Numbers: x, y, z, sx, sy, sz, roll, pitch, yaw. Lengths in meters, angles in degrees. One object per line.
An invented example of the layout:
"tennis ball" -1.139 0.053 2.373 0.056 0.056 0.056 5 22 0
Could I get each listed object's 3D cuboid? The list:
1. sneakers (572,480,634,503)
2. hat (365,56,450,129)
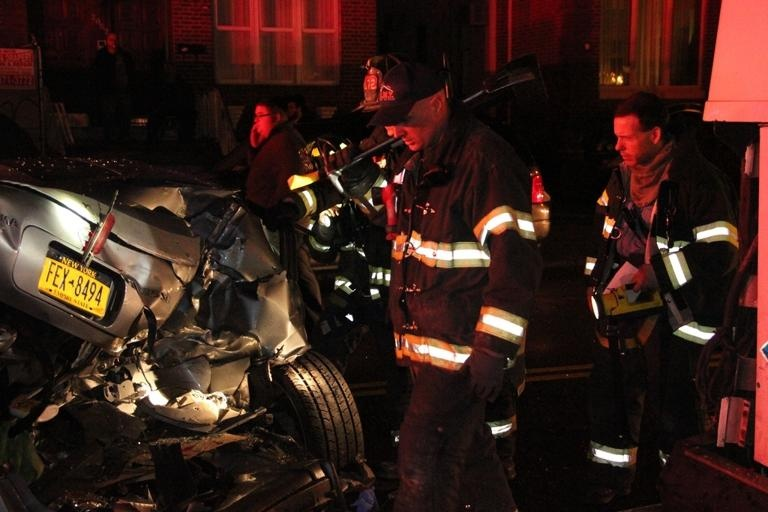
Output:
"sneakers" 1.434 1.507 5.012 0.310 0.111 0.168 2 -2 -13
"hat" 0.017 -0.835 4.119 0.306 0.222 0.474 -10 9 22
